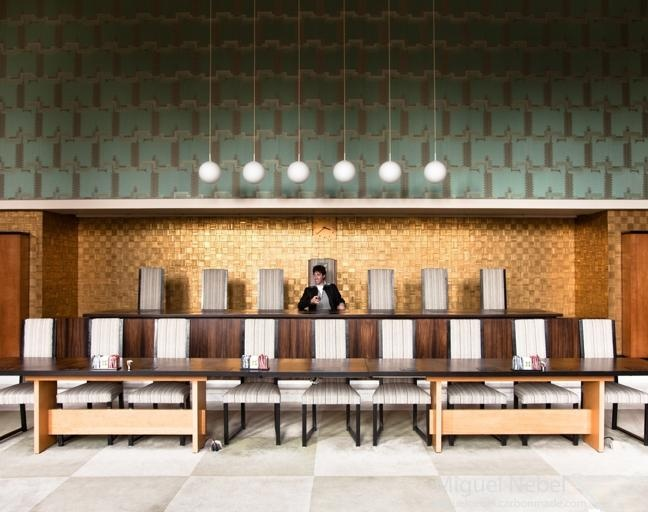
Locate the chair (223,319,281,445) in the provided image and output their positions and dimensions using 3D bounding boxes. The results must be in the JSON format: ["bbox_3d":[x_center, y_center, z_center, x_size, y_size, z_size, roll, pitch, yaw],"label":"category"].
[{"bbox_3d":[-0.823,1.518,8.574,0.644,1.506,0.868,0,-1,4],"label":"chair"}]

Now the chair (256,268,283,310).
[{"bbox_3d":[-0.882,0.572,11.528,0.419,0.677,0.429,2,2,21],"label":"chair"}]

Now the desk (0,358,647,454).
[{"bbox_3d":[-0.059,1.750,8.092,6.958,1.114,0.846,0,-11,2],"label":"desk"}]

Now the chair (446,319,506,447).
[{"bbox_3d":[1.786,1.471,8.430,0.660,1.503,0.922,1,-4,-1],"label":"chair"}]

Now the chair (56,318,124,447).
[{"bbox_3d":[-2.872,1.509,8.695,0.591,1.460,1.008,-1,-1,1],"label":"chair"}]

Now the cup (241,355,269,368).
[{"bbox_3d":[-0.810,1.253,8.049,0.330,0.173,0.231,1,-12,-6],"label":"cup"}]

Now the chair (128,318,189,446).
[{"bbox_3d":[-2.000,1.519,8.573,0.661,1.480,0.984,-1,-3,-2],"label":"chair"}]

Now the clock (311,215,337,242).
[{"bbox_3d":[-0.004,-0.523,12.248,0.415,0.462,0.070,0,-1,-2],"label":"clock"}]

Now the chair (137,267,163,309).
[{"bbox_3d":[-2.883,0.546,11.478,0.415,0.773,0.361,3,-11,-15],"label":"chair"}]

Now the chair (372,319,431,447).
[{"bbox_3d":[0.900,1.485,8.551,0.645,1.609,0.917,0,3,-3],"label":"chair"}]

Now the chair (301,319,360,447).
[{"bbox_3d":[0.093,1.533,8.533,0.644,1.489,0.805,0,-2,2],"label":"chair"}]

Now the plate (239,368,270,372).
[{"bbox_3d":[-0.796,1.326,7.901,0.337,0.064,0.146,1,-12,-4],"label":"plate"}]

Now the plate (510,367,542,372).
[{"bbox_3d":[2.343,1.305,7.883,0.339,0.055,0.117,-2,-12,9],"label":"plate"}]

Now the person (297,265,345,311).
[{"bbox_3d":[-0.044,0.525,10.919,0.704,0.805,0.576,3,-12,-16],"label":"person"}]

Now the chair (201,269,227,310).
[{"bbox_3d":[-1.820,0.598,11.549,0.394,0.674,0.389,-7,-9,-15],"label":"chair"}]
